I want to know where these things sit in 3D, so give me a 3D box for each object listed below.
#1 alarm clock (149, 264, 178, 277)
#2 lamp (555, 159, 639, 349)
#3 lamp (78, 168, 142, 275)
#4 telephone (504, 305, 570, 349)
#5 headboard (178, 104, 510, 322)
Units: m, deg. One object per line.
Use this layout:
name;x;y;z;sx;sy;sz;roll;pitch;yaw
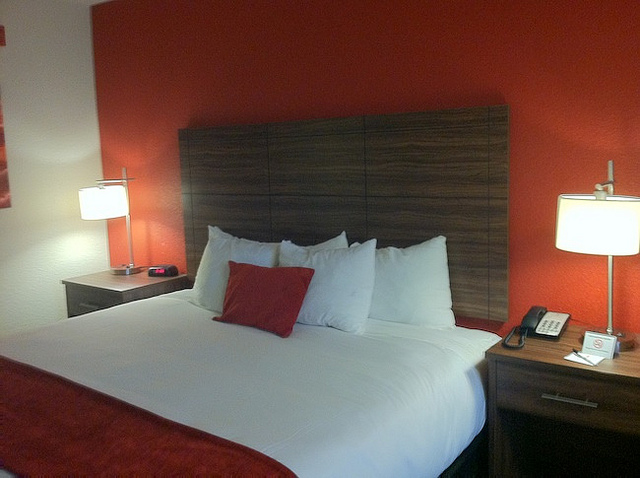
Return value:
alarm clock;-1.367;0.283;4.042;0.141;0.061;0.137;1;4;11
lamp;1.399;0.093;2.310;0.371;0.940;0.447;3;14;27
lamp;-1.920;-0.164;4.203;0.469;0.949;0.481;-8;14;-20
telephone;1.171;0.454;2.386;0.187;0.063;0.327;2;18;37
headboard;0.221;-0.163;2.971;1.674;0.934;0.032;2;5;30
